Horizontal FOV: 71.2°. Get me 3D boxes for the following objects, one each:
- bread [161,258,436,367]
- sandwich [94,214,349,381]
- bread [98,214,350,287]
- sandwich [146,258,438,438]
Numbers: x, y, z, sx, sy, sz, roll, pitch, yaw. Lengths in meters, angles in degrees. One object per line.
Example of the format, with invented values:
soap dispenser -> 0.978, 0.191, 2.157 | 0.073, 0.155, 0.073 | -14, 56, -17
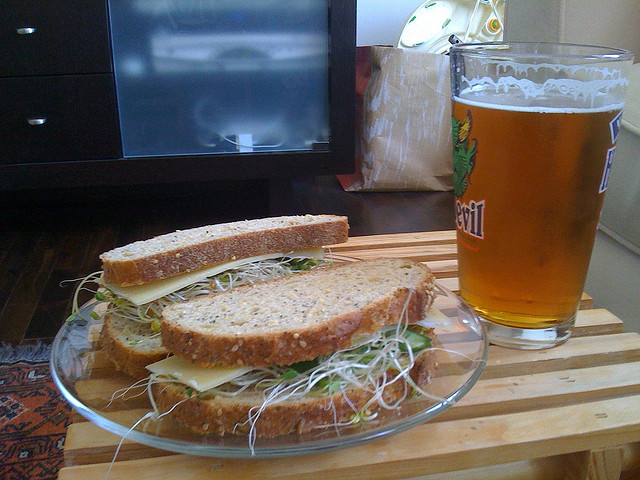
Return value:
bread -> -0.006, 0.058, 0.546 | 0.289, 0.036, 0.144 | -9, 20, -29
sandwich -> -0.156, 0.085, 0.708 | 0.343, 0.082, 0.240 | -14, 20, -38
bread -> -0.147, -0.003, 0.713 | 0.334, 0.039, 0.163 | -11, 11, -17
sandwich -> -0.017, 0.125, 0.518 | 0.288, 0.077, 0.175 | -12, 27, -17
